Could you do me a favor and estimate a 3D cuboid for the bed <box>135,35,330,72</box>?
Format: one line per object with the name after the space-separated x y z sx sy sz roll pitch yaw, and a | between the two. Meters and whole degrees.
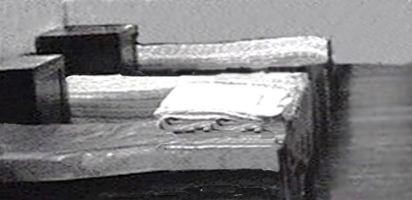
0.189 -0.507 10.449 2.370 0.302 0.415 -2 -38 5 | bed

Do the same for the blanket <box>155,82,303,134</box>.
0.240 0.096 9.531 0.908 0.185 0.841 1 21 9 | blanket
